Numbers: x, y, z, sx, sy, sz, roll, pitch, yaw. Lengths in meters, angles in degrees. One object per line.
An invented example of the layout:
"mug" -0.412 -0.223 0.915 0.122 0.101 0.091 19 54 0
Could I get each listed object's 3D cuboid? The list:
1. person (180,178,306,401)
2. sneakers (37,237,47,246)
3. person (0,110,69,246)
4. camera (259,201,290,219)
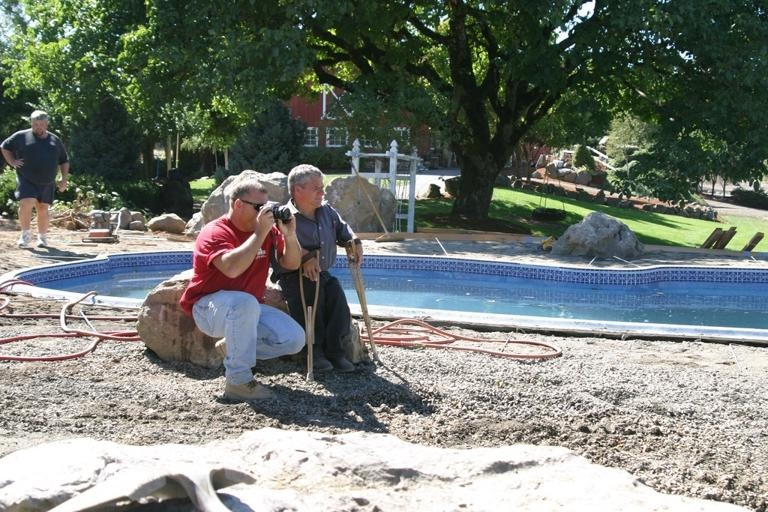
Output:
"person" -1.914 0.432 12.525 1.581 2.948 0.828 4 6 -13
"sneakers" -7.002 -0.263 18.698 0.107 0.207 0.299 0 -11 -11
"person" -7.097 -1.568 18.554 1.199 2.749 0.893 4 6 -16
"camera" -1.471 -0.578 12.418 0.288 0.170 0.276 17 -3 32
